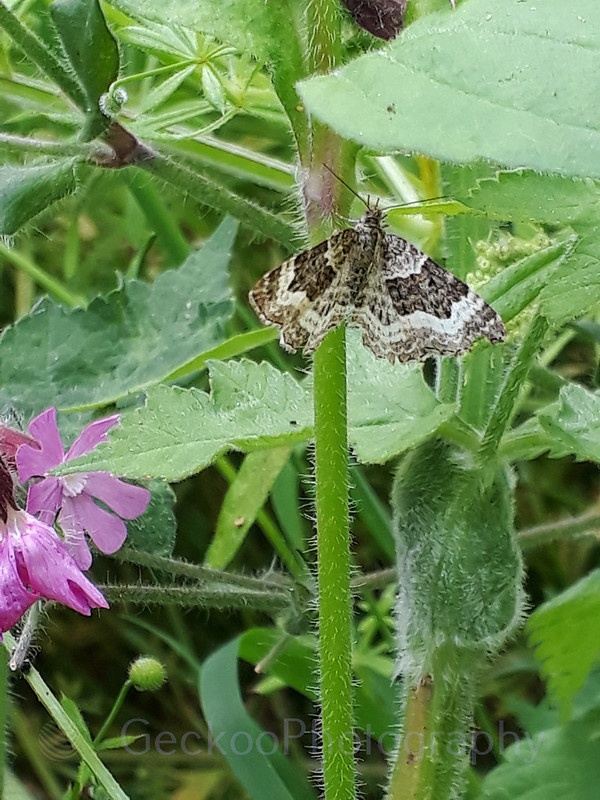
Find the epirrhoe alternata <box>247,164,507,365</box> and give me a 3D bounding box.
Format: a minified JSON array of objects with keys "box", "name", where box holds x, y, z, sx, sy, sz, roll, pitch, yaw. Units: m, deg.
[{"box":[0.059,-0.103,0.693,0.203,0.150,0.175,2,25,8],"name":"epirrhoe alternata"}]
